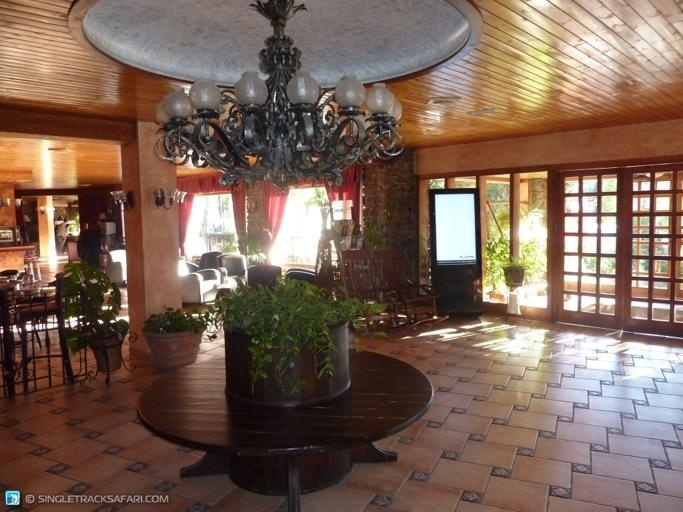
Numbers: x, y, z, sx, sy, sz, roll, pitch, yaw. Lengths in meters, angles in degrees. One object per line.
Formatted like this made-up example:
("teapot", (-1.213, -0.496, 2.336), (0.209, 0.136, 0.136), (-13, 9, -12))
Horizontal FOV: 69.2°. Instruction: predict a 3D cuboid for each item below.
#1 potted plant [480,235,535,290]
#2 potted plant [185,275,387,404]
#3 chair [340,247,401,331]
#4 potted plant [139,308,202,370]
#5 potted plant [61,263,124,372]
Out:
("potted plant", (2.996, 0.140, 9.066), (0.956, 1.013, 0.631), (1, -7, -8))
("potted plant", (-0.442, 0.608, 3.732), (1.193, 0.819, 1.192), (4, -9, -34))
("chair", (0.455, 0.409, 8.711), (0.835, 1.561, 1.262), (2, 5, 43))
("potted plant", (-2.033, 1.141, 6.319), (0.571, 0.402, 0.590), (-5, 0, 29))
("potted plant", (-2.947, 0.798, 6.042), (0.667, 1.234, 0.652), (-19, -3, 41))
